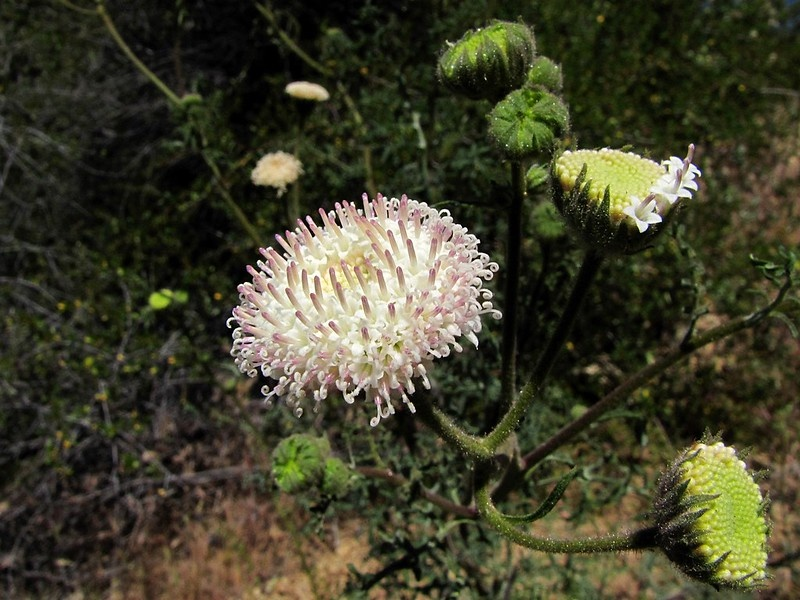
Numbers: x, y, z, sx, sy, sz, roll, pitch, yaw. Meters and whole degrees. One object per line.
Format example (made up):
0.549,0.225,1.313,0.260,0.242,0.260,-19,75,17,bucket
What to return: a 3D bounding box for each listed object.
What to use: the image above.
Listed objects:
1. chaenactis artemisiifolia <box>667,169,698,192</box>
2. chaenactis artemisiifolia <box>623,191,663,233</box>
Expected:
0.917,-0.391,2.478,0.077,0.026,0.082,-11,47,-9,chaenactis artemisiifolia
0.780,-0.280,2.454,0.114,0.083,0.115,-30,62,-32,chaenactis artemisiifolia
